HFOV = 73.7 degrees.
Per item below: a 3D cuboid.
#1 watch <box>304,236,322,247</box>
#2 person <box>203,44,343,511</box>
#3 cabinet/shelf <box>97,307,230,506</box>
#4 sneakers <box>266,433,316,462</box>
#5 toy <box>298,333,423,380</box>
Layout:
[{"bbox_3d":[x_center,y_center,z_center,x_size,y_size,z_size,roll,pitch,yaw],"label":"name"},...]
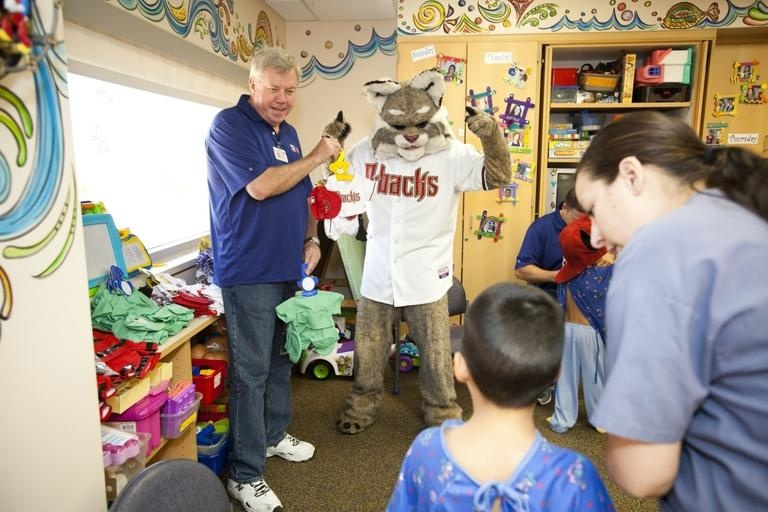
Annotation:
[{"bbox_3d":[-0.367,-0.078,2.625,0.059,0.044,0.068,6,-6,25],"label":"watch"},{"bbox_3d":[-0.574,0.087,2.409,0.557,2.035,0.679,7,15,25],"label":"person"},{"bbox_3d":[-0.930,0.655,2.425,0.455,0.534,0.727,4,11,16],"label":"cabinet/shelf"},{"bbox_3d":[-0.463,0.990,2.632,0.256,0.123,0.110,-1,11,-4],"label":"sneakers"},{"bbox_3d":[-0.176,0.721,3.597,0.574,0.199,0.369,0,3,0],"label":"toy"}]
